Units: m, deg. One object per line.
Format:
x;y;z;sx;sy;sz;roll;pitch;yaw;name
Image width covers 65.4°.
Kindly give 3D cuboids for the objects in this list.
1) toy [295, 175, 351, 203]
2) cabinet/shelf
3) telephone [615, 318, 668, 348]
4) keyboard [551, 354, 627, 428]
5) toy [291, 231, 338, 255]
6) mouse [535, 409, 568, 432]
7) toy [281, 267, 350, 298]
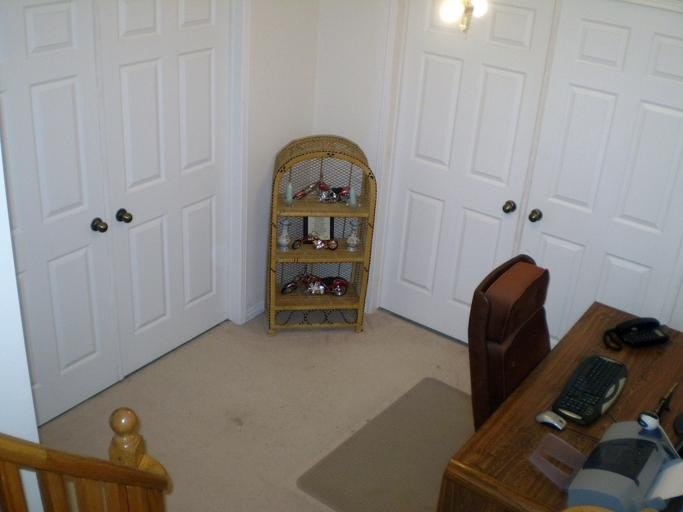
-0.128;-0.509;3.998;0.328;0.170;0.208;3;47;2;toy
-0.082;-0.278;4.262;0.707;1.391;0.483;9;33;7;cabinet/shelf
1.514;0.392;2.670;0.190;0.061;0.147;-6;38;6;telephone
1.092;0.604;2.350;0.167;0.338;0.042;20;55;16;keyboard
-0.212;-0.101;4.049;0.324;0.159;0.143;4;44;-2;toy
0.869;0.670;2.184;0.105;0.036;0.064;15;40;33;mouse
-0.191;0.227;4.163;0.418;0.241;0.232;2;57;-1;toy
